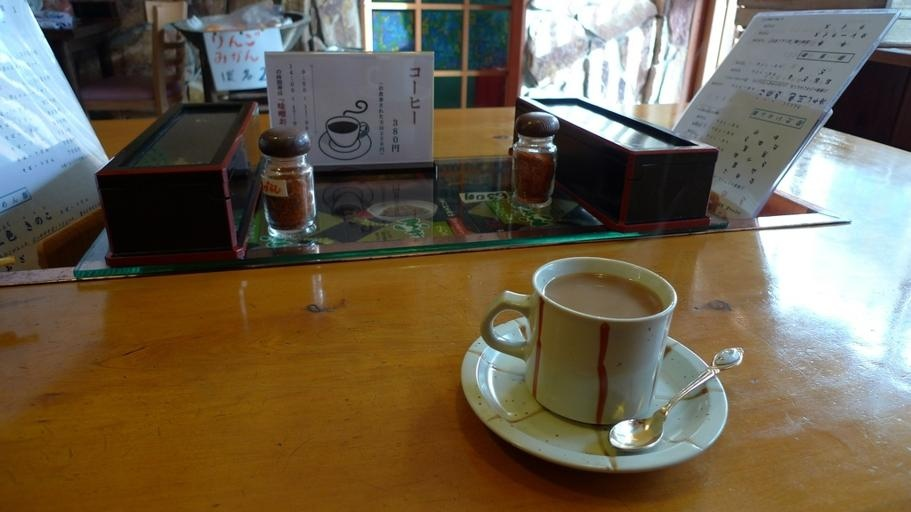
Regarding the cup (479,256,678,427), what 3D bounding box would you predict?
[{"bbox_3d":[0.158,0.105,0.910,0.312,0.190,0.212,4,30,13],"label":"cup"}]
